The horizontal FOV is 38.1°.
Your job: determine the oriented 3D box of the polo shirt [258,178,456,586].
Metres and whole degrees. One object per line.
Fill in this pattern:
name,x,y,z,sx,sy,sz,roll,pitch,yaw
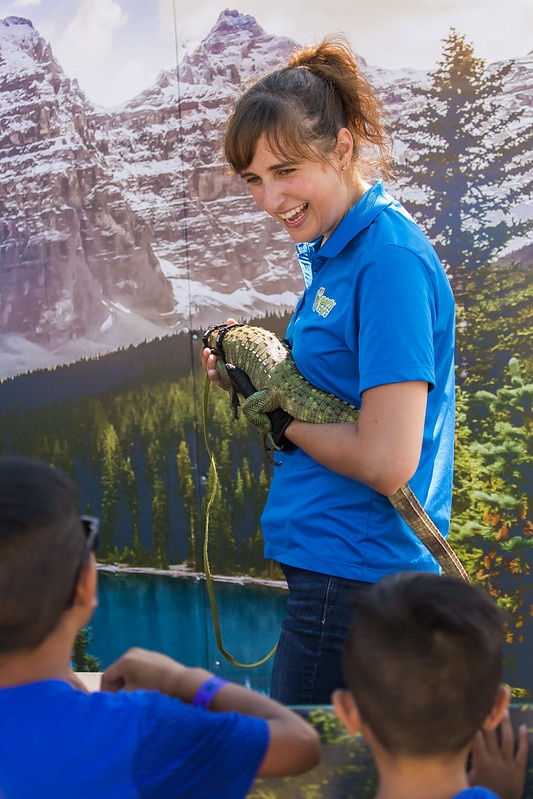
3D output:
polo shirt,0.176,-0.041,1.670,0.438,0.861,0.444,1,9,13

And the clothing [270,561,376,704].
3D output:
clothing,0.112,0.528,1.680,0.176,0.265,0.202,-6,-35,26

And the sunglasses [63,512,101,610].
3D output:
sunglasses,-0.258,0.227,1.087,0.074,0.088,0.030,18,16,40

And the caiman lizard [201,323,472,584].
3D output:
caiman lizard,0.061,-0.031,2.062,0.342,0.208,1.310,-14,35,-15
